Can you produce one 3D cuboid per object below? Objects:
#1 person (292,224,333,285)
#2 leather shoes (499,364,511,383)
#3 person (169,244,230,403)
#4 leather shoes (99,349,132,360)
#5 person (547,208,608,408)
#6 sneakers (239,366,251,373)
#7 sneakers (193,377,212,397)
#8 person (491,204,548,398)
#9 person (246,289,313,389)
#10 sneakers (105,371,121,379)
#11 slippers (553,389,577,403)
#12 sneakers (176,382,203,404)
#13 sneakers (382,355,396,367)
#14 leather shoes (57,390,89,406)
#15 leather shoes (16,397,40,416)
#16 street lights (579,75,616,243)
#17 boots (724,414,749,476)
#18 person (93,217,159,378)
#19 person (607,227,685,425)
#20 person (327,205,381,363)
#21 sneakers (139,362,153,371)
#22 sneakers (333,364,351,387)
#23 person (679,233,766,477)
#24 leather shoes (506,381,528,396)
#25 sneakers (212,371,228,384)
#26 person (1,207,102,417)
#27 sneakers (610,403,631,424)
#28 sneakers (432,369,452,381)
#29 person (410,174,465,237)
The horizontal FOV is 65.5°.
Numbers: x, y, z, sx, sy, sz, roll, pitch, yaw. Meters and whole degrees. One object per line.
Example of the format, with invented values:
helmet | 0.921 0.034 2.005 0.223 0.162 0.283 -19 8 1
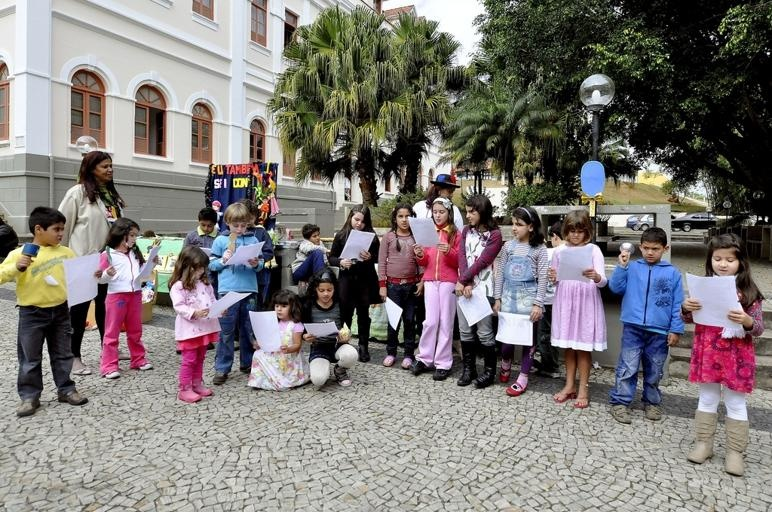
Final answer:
person | -1.044 0.026 8.925 0.697 1.004 0.562 -7 -14 39
leather shoes | 1.565 1.533 7.951 0.108 0.313 0.092 -3 -17 28
person | -2.319 0.808 7.377 0.547 1.840 0.538 -3 5 -30
leather shoes | -3.616 1.313 8.029 0.151 0.136 0.392 -22 -20 32
person | 2.343 0.617 7.367 0.670 2.364 0.559 1 4 18
sneakers | -1.878 1.522 8.039 0.183 0.083 0.070 -3 25 -1
sneakers | -2.250 1.617 7.378 0.310 0.148 0.121 0 4 42
person | 1.712 0.545 7.598 0.662 2.333 0.515 0 4 2
person | -1.393 1.047 7.684 0.672 1.210 0.914 8 3 44
sneakers | -3.543 1.526 7.758 0.205 0.087 0.080 -12 -11 43
slippers | 2.195 1.709 7.403 0.327 0.136 0.125 0 2 -32
sneakers | -2.374 1.655 7.226 0.359 0.263 0.143 -1 0 19
sneakers | 0.049 1.453 8.351 0.116 0.109 0.273 -1 -4 10
leather shoes | -3.695 1.640 7.089 0.321 0.138 0.159 4 5 18
leather shoes | -4.087 1.727 6.847 0.111 0.137 0.332 3 -6 -19
street lights | 3.643 -1.680 10.219 0.566 2.738 0.566 -17 13 -33
boots | 3.630 1.954 6.247 0.193 0.562 0.346 2 5 30
person | -3.432 0.526 7.871 0.622 2.043 0.379 -3 5 -34
person | 3.035 0.783 7.025 0.816 2.237 0.600 1 4 17
person | -0.397 0.391 8.367 0.701 2.083 0.762 -1 9 -20
sneakers | -3.197 1.474 8.014 0.080 0.083 0.196 -3 -5 -43
sneakers | -0.552 1.509 7.760 0.211 0.268 0.325 -1 4 -13
person | 3.500 0.998 6.314 0.732 2.453 0.549 2 5 32
leather shoes | 1.617 1.642 7.488 0.259 0.105 0.120 -4 2 -39
sneakers | -2.139 1.550 7.734 0.095 0.101 0.231 4 17 3
person | -3.984 0.610 6.993 0.807 2.380 0.467 -3 5 -33
sneakers | 2.719 1.830 6.980 0.169 0.168 0.237 0 4 -2
sneakers | 0.728 1.548 7.910 0.142 0.121 0.287 3 5 35
person | 0.833 -0.677 8.805 0.548 1.120 0.683 14 26 43
